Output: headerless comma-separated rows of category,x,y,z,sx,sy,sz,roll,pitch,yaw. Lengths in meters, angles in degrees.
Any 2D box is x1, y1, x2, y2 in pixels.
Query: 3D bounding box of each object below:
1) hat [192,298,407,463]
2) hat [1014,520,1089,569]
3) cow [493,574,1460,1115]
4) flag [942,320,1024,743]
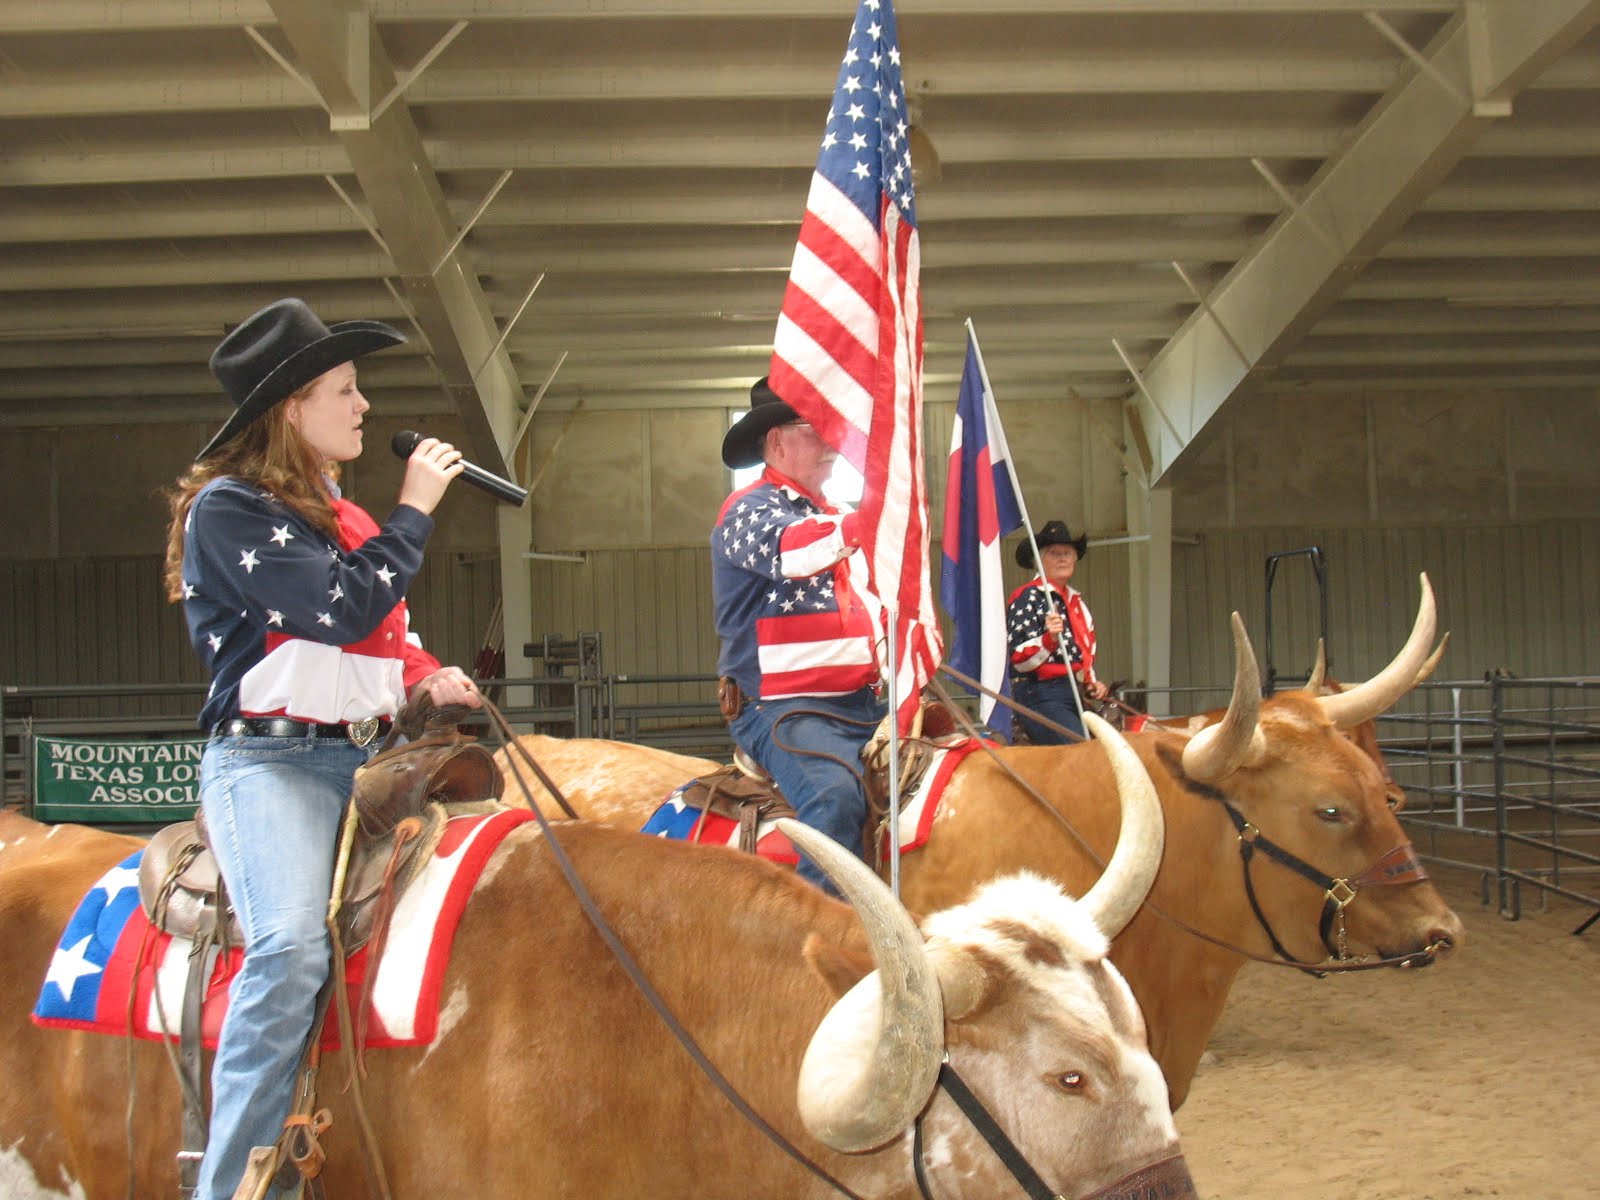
hat,-2.648,-1.242,12.325,0.950,0.406,0.773,-41,7,-1
hat,2.020,-0.447,18.861,0.432,0.276,0.624,2,-11,-4
cow,1.241,0.557,13.963,4.044,3.653,6.037,6,5,-21
flag,1.206,-0.415,14.862,0.325,3.394,0.363,-1,9,-30
